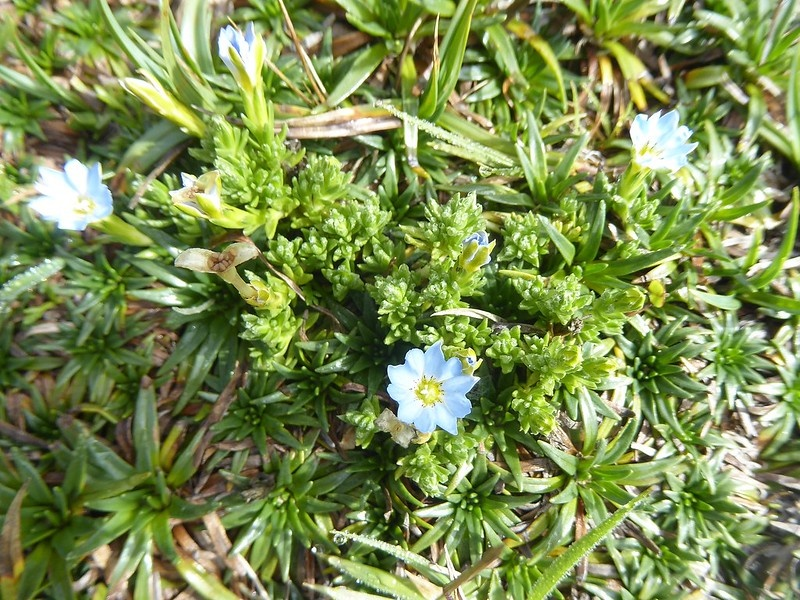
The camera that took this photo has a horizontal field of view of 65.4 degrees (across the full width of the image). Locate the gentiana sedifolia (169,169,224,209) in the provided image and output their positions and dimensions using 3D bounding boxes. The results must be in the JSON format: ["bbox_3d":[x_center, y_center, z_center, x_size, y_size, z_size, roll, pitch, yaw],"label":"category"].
[{"bbox_3d":[-0.999,-0.548,3.112,0.197,0.217,0.105,47,17,17],"label":"gentiana sedifolia"}]

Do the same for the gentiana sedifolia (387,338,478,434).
[{"bbox_3d":[0.124,0.385,2.979,0.349,0.141,0.377,-7,22,9],"label":"gentiana sedifolia"}]

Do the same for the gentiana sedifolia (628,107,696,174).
[{"bbox_3d":[1.449,-0.925,3.474,0.329,0.171,0.347,26,7,-40],"label":"gentiana sedifolia"}]
